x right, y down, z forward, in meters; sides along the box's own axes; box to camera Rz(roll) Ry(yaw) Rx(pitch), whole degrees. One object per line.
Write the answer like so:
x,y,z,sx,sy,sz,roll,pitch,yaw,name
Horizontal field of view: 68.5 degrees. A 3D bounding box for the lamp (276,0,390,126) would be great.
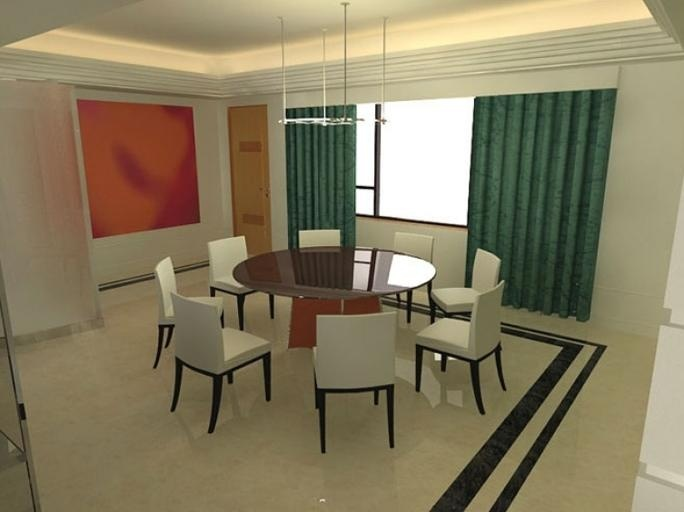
-0.065,-2.579,6.598,1.526,1.327,0.384,8,14,35,lamp
